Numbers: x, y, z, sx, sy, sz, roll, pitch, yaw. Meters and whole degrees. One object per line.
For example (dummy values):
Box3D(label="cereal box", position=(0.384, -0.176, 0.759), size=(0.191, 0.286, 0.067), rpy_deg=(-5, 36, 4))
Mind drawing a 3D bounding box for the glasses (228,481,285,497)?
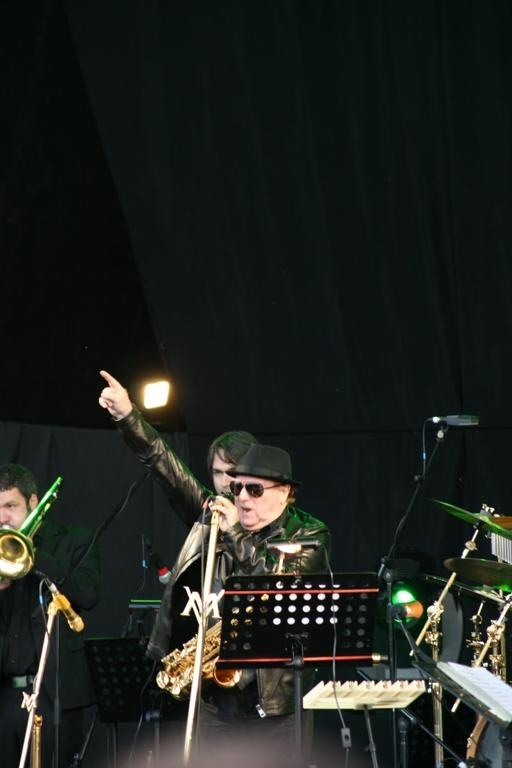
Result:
Box3D(label="glasses", position=(-0.013, 0.396, 2.865), size=(0.193, 0.072, 0.064), rpy_deg=(-1, -36, 12))

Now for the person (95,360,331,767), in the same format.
Box3D(label="person", position=(-0.129, 0.957, 3.011), size=(0.864, 1.937, 0.632), rpy_deg=(1, 8, 15))

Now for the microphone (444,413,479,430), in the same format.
Box3D(label="microphone", position=(1.397, 0.251, 5.067), size=(0.330, 0.099, 0.098), rpy_deg=(-1, -75, 7))
